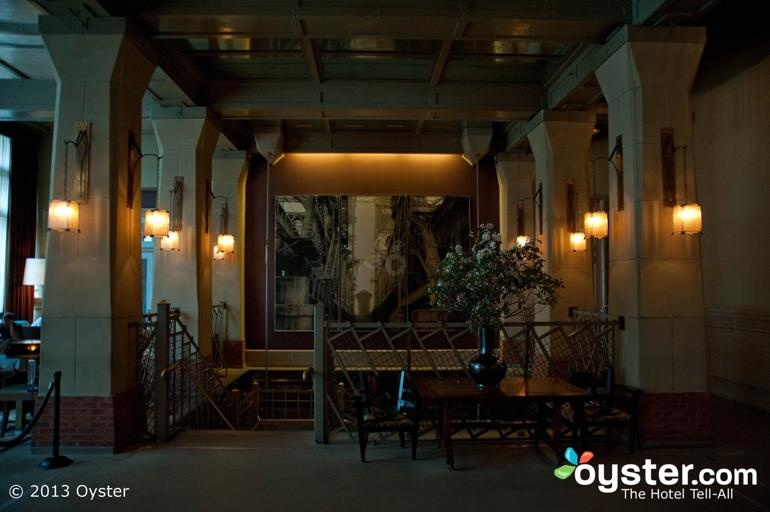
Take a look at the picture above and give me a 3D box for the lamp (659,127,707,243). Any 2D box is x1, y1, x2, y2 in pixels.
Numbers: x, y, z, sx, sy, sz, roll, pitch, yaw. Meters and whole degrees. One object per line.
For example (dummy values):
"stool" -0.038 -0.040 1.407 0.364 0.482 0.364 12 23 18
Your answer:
"lamp" 4.398 -0.983 10.188 0.446 1.358 0.249 0 -5 -5

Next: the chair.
"chair" 1.611 2.282 9.984 3.975 1.289 1.524 -1 -5 1

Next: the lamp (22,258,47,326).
"lamp" -7.559 0.719 14.865 0.380 1.497 1.955 2 -5 -28

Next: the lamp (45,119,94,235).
"lamp" -4.594 -1.157 10.140 0.547 1.605 0.205 -1 -5 8

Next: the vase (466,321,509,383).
"vase" 1.402 1.400 9.663 0.507 0.837 0.303 -1 -5 4

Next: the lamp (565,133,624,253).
"lamp" 3.870 -1.189 13.072 0.841 2.314 5.095 -2 -5 16

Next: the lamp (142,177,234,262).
"lamp" -3.653 -0.686 13.228 0.791 1.582 1.579 -9 -11 41
